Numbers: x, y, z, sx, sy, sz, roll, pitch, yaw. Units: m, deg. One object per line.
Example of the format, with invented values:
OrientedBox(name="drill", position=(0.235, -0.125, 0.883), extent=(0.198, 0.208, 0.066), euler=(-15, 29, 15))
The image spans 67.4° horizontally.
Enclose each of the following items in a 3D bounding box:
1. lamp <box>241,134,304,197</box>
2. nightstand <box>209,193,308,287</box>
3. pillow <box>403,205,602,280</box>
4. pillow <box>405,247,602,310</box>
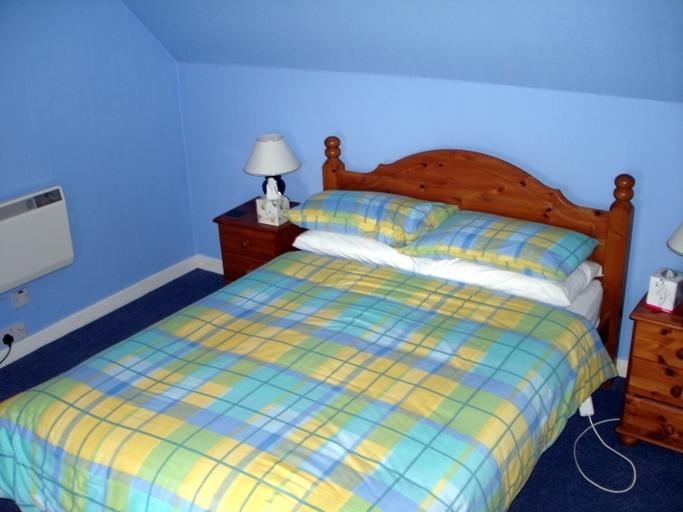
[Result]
OrientedBox(name="lamp", position=(-0.410, -0.674, 3.796), extent=(0.467, 0.461, 0.494), euler=(13, 21, 43))
OrientedBox(name="nightstand", position=(-0.589, -0.146, 3.998), extent=(0.706, 0.623, 0.547), euler=(14, 30, 28))
OrientedBox(name="pillow", position=(0.903, -0.077, 2.940), extent=(0.778, 0.146, 0.492), euler=(12, 30, 32))
OrientedBox(name="pillow", position=(0.950, 0.105, 2.993), extent=(1.081, 0.179, 0.399), euler=(5, 18, 14))
